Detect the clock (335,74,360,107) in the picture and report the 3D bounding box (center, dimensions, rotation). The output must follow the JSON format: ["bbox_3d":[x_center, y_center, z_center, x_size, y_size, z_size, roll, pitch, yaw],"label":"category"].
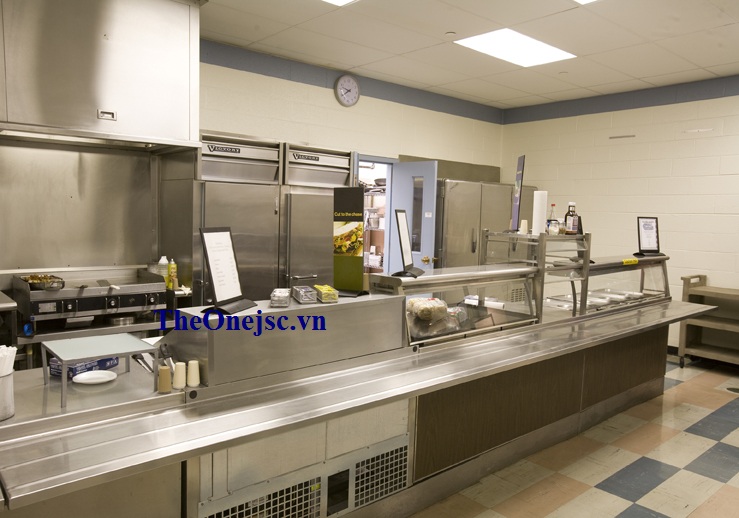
[{"bbox_3d":[-0.292,-2.093,6.385,0.064,0.428,0.432,-4,-8,43],"label":"clock"}]

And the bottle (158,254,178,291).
[{"bbox_3d":[-1.827,0.123,4.691,0.157,0.271,0.406,-5,12,-30],"label":"bottle"}]

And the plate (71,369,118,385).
[{"bbox_3d":[-1.445,0.627,2.720,0.106,0.015,0.103,-7,14,-44],"label":"plate"}]

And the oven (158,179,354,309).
[{"bbox_3d":[-1.005,-0.382,5.433,1.699,1.376,0.637,-9,17,-30],"label":"oven"}]

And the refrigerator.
[{"bbox_3d":[1.173,-0.420,6.121,1.296,1.132,0.474,-2,3,-31],"label":"refrigerator"}]
